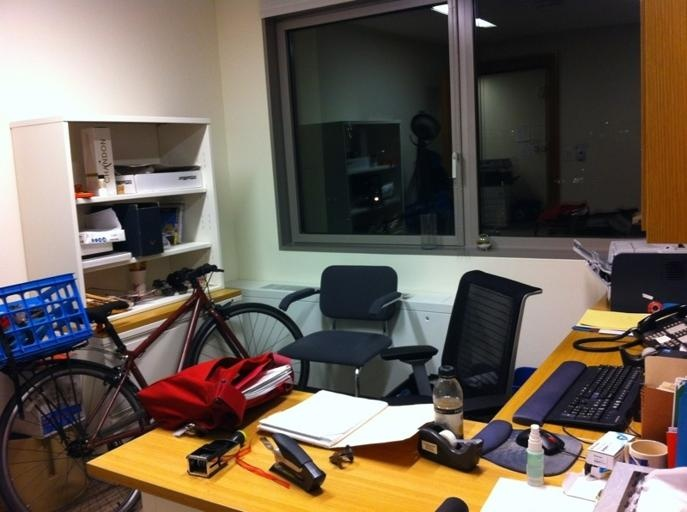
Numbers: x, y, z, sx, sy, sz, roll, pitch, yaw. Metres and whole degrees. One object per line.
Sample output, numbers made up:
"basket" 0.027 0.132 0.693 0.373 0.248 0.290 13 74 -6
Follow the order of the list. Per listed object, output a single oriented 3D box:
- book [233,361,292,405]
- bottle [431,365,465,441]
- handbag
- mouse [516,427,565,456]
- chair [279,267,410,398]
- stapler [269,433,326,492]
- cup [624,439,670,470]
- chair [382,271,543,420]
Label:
"book" -0.276 0.478 1.948 0.093 0.034 0.122 4 19 42
"bottle" 0.331 0.470 1.638 0.086 0.233 0.100 1 5 36
"handbag" -0.509 0.414 2.020 0.493 0.279 0.543 11 11 38
"mouse" 0.607 0.563 1.581 0.114 0.038 0.063 4 11 38
"chair" -0.014 0.530 3.218 0.714 0.875 0.639 1 6 35
"stapler" -0.153 0.617 1.551 0.248 0.101 0.074 6 16 42
"cup" 0.797 0.521 1.359 0.084 0.061 0.065 -1 6 16
"chair" 0.663 0.377 2.523 0.604 0.793 0.642 -2 12 -35
